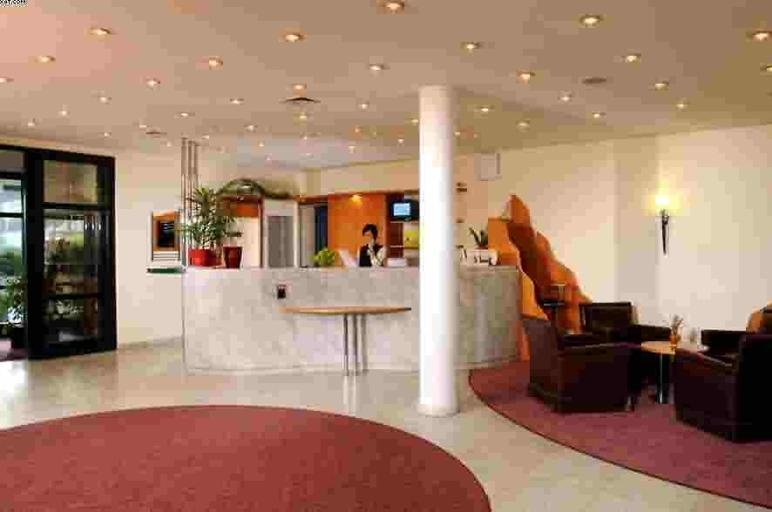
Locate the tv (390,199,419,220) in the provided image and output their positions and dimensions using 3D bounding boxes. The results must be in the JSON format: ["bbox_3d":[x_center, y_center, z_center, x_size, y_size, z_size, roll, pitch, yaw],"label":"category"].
[{"bbox_3d":[0.427,-1.072,14.112,0.814,0.546,0.443,0,-1,28],"label":"tv"}]

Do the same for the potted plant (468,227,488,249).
[{"bbox_3d":[1.826,-0.371,11.828,0.205,0.255,0.493,3,4,-26],"label":"potted plant"}]

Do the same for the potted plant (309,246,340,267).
[{"bbox_3d":[-1.139,0.027,10.747,0.549,0.428,0.583,0,1,5],"label":"potted plant"}]

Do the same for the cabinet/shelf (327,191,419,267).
[{"bbox_3d":[-0.107,-0.852,14.661,2.619,2.409,1.418,0,0,22],"label":"cabinet/shelf"}]

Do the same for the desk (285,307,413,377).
[{"bbox_3d":[-0.483,0.897,9.037,1.645,0.896,1.105,-1,-1,37],"label":"desk"}]
